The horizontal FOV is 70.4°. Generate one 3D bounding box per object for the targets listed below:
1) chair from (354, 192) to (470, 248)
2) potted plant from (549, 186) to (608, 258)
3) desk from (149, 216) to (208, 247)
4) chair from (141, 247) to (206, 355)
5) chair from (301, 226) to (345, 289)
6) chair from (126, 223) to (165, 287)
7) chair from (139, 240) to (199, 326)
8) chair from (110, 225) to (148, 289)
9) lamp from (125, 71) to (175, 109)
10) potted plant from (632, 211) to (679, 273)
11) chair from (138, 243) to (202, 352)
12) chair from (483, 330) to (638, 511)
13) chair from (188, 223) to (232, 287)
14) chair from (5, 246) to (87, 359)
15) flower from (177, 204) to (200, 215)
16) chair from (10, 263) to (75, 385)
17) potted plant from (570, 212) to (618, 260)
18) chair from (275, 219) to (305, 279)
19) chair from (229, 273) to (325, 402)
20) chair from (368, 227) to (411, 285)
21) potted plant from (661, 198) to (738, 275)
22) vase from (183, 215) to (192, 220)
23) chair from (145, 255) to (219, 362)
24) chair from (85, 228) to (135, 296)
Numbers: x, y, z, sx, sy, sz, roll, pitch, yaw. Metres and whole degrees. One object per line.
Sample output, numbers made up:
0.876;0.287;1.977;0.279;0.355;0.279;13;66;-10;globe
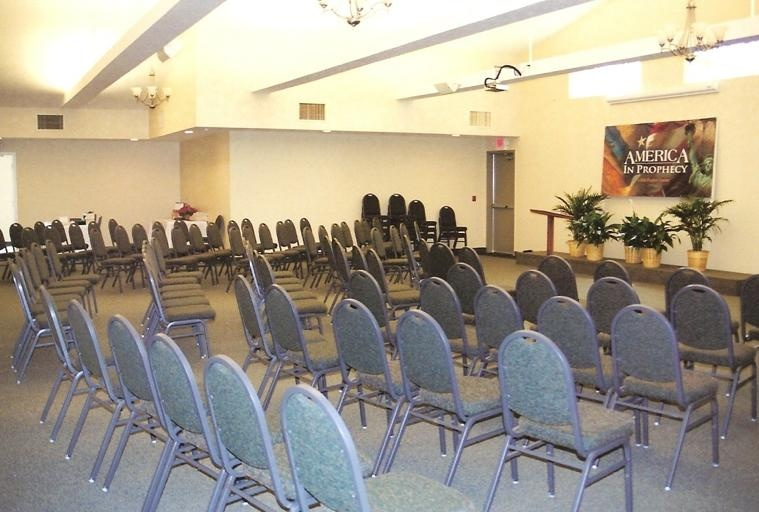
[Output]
0.682;-0.932;13.465;1.855;1.009;0.605;1;0;-26;chair
4.225;-0.725;12.366;1.556;1.750;1.416;3;4;45;potted plant
-4.565;-0.669;12.163;1.208;0.433;1.180;0;-1;-37;desk
-2.608;0.552;6.730;0.554;0.837;1.306;-2;7;-19;chair
-1.033;0.014;9.836;0.693;1.047;0.621;1;6;20;chair
-4.817;-0.098;10.981;0.587;1.054;0.632;0;6;-40;chair
-2.996;0.375;7.558;0.484;0.865;1.250;-2;7;-13;chair
-4.911;-0.022;10.074;0.567;1.091;0.666;-8;3;13;chair
-5.035;-3.623;11.780;0.824;0.797;0.823;13;20;37;lamp
5.329;-0.293;10.903;1.078;1.167;1.179;5;3;38;potted plant
-2.721;0.522;6.912;0.531;0.914;1.323;-3;10;-18;chair
1.168;1.048;3.496;1.035;1.317;0.774;-12;13;-43;chair
-3.450;-0.075;11.349;0.719;1.246;1.528;-4;1;-41;chair
-4.031;0.560;6.409;0.571;0.749;1.347;-3;11;-21;chair
-4.956;-1.204;13.891;0.377;0.266;0.386;6;8;36;flower
-3.691;0.685;6.012;0.797;1.163;0.752;1;8;-25;chair
4.642;-0.427;11.531;0.887;0.970;1.092;7;-2;-3;potted plant
-1.863;-0.156;11.527;0.691;1.136;0.757;-9;16;-17;chair
-0.965;0.755;5.102;0.807;1.234;0.738;-3;6;-26;chair
0.192;0.093;10.024;0.719;1.209;0.668;3;8;24;chair
6.128;-0.444;10.346;0.884;1.399;0.779;-11;12;-36;potted plant
-4.994;-0.995;13.908;0.122;0.121;0.089;1;-8;-27;vase
-2.430;0.623;6.536;0.513;0.691;1.196;-2;8;-21;chair
-4.989;0.015;10.138;0.818;1.106;0.637;1;18;17;chair
